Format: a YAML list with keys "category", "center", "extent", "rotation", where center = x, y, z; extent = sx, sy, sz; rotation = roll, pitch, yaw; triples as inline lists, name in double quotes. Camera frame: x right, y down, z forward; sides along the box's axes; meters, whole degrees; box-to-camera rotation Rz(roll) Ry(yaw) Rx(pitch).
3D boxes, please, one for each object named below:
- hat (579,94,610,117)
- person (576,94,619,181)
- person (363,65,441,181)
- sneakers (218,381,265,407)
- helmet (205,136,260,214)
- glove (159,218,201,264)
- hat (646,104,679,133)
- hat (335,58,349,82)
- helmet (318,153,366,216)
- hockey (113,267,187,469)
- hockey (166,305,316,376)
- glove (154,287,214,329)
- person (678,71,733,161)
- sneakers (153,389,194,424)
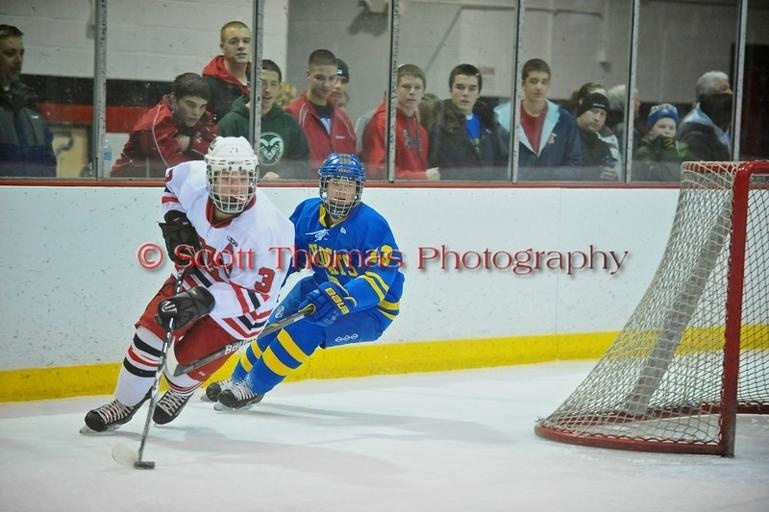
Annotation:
- category: "hat"
  center: [1.619, -1.182, 7.099]
  extent: [0.195, 0.124, 0.188]
  rotation: [7, 2, 3]
- category: "person"
  center: [1.638, -0.818, 7.190]
  extent: [0.362, 0.954, 0.293]
  rotation: [2, -25, 10]
- category: "person"
  center: [0.251, -0.954, 6.759]
  extent: [0.548, 0.817, 0.518]
  rotation: [13, -11, -39]
- category: "sneakers"
  center: [-0.877, 0.852, 5.739]
  extent: [0.317, 0.136, 0.110]
  rotation: [-2, 35, -46]
- category: "helmet"
  center: [-0.849, -0.492, 5.179]
  extent: [0.318, 0.384, 0.394]
  rotation: [-1, 24, -11]
- category: "glove"
  center: [-1.151, -0.083, 5.221]
  extent: [0.179, 0.270, 0.085]
  rotation: [-26, -25, -8]
- category: "hat"
  center: [2.201, -1.103, 7.305]
  extent: [0.199, 0.135, 0.233]
  rotation: [2, -17, 6]
- category: "hat"
  center: [-0.285, -1.311, 6.436]
  extent: [0.129, 0.105, 0.095]
  rotation: [4, 11, 5]
- category: "helmet"
  center: [-0.282, -0.480, 5.691]
  extent: [0.299, 0.365, 0.373]
  rotation: [1, 22, -6]
- category: "hockey"
  center: [-1.269, 0.710, 4.907]
  extent: [0.282, 0.711, 0.518]
  rotation: [0, 11, -6]
- category: "hockey"
  center: [-0.827, 0.483, 5.334]
  extent: [0.964, 0.128, 0.107]
  rotation: [-23, -4, -15]
- category: "glove"
  center: [-1.068, 0.267, 4.991]
  extent: [0.305, 0.182, 0.116]
  rotation: [-23, -23, -33]
- category: "person"
  center: [2.641, -1.078, 7.600]
  extent: [0.461, 0.826, 0.900]
  rotation: [2, 13, 24]
- category: "sneakers"
  center: [-1.212, 0.876, 5.296]
  extent: [0.092, 0.272, 0.106]
  rotation: [45, 2, -4]
